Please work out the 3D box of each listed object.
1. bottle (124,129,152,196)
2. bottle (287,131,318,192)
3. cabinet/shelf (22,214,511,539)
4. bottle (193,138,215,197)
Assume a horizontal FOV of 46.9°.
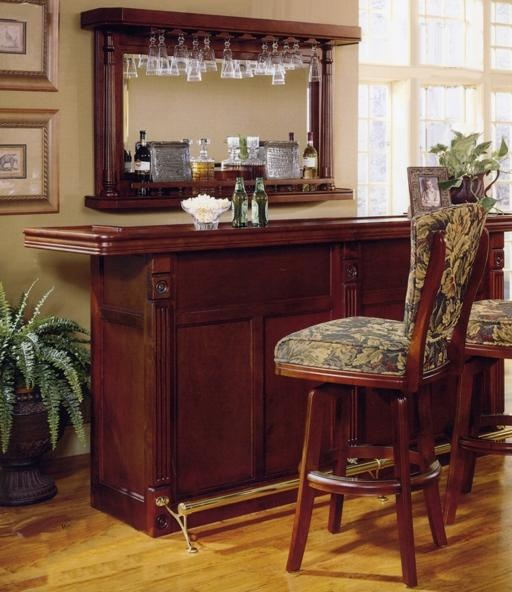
[{"bbox_3d":[-0.591,-0.690,2.942,0.131,0.263,0.036,0,-1,-13],"label":"bottle"},{"bbox_3d":[0.304,-0.781,3.484,0.103,0.356,0.226,-2,-2,37],"label":"bottle"},{"bbox_3d":[0.032,0.309,2.058,1.250,0.553,0.351,-6,11,-32],"label":"cabinet/shelf"},{"bbox_3d":[-0.281,-0.678,3.111,0.157,0.298,0.045,0,-2,-42],"label":"bottle"}]
